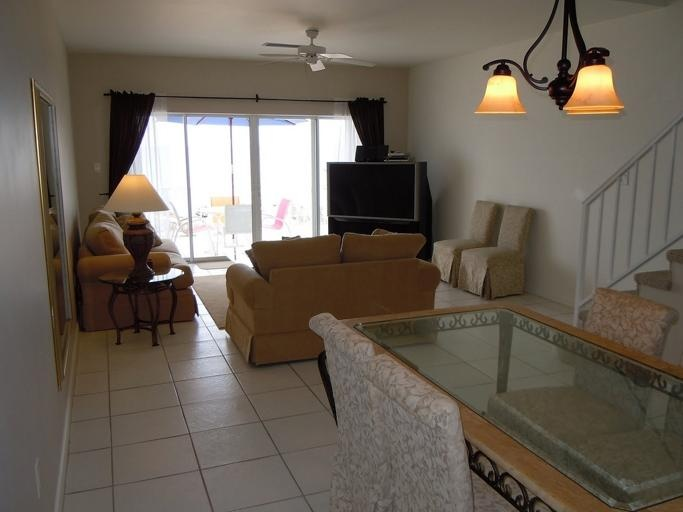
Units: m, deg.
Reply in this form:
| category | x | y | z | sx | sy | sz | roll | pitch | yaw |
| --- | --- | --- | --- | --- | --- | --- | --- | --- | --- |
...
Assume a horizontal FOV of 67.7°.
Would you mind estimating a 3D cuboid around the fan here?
| category | x | y | z | sx | sy | sz | roll | pitch | yaw |
| --- | --- | --- | --- | --- | --- | --- | --- | --- | --- |
| fan | -0.475 | -2.510 | 6.149 | 0.767 | 0.333 | 0.726 | -12 | 21 | -36 |

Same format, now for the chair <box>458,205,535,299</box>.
| category | x | y | z | sx | sy | sz | roll | pitch | yaw |
| --- | --- | --- | --- | --- | --- | --- | --- | --- | --- |
| chair | 1.876 | -0.073 | 6.212 | 0.698 | 1.061 | 0.509 | -6 | 15 | -25 |

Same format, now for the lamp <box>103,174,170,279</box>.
| category | x | y | z | sx | sy | sz | roll | pitch | yaw |
| --- | --- | --- | --- | --- | --- | --- | --- | --- | --- |
| lamp | -1.865 | -0.274 | 4.639 | 0.499 | 0.910 | 0.460 | 5 | 14 | 18 |

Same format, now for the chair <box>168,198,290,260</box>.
| category | x | y | z | sx | sy | sz | roll | pitch | yaw |
| --- | --- | --- | --- | --- | --- | --- | --- | --- | --- |
| chair | -1.959 | -0.448 | 8.209 | 1.167 | 0.622 | 1.221 | -2 | 16 | -3 |

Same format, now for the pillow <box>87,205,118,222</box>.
| category | x | y | z | sx | sy | sz | roll | pitch | yaw |
| --- | --- | --- | --- | --- | --- | --- | --- | --- | --- |
| pillow | -2.819 | -0.499 | 5.991 | 0.262 | 0.140 | 0.269 | -7 | 19 | -28 |
